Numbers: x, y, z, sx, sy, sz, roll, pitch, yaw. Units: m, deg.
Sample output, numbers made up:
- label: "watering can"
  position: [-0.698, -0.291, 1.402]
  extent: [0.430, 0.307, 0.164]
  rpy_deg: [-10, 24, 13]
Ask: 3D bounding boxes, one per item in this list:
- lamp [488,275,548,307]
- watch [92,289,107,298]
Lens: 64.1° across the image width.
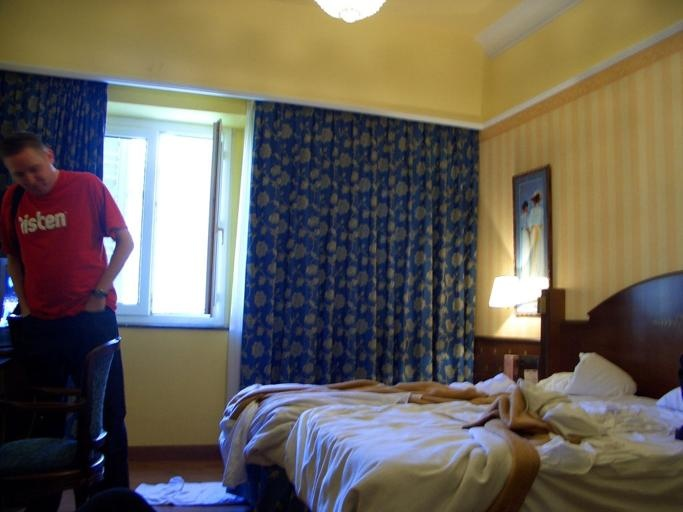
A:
- label: "lamp"
  position: [1.598, 0.347, 4.946]
  extent: [0.363, 0.230, 0.255]
  rpy_deg: [6, -12, -13]
- label: "watch"
  position: [-1.514, 0.234, 3.424]
  extent: [0.065, 0.034, 0.052]
  rpy_deg: [8, -1, 34]
